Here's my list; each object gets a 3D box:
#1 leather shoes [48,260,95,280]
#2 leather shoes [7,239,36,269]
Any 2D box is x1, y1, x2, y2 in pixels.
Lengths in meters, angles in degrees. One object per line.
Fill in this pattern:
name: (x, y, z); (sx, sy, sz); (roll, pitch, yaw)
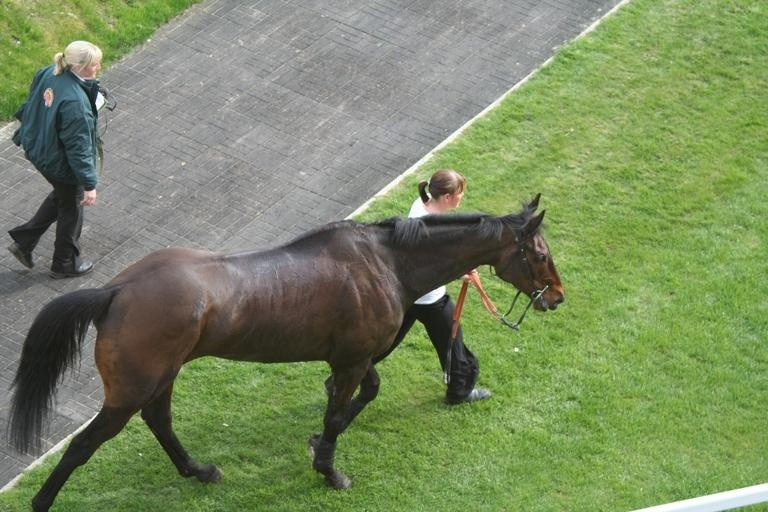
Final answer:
leather shoes: (-4.151, 0.188, 15.402); (0.486, 0.223, 0.222); (-7, 73, -12)
leather shoes: (-4.765, -0.006, 15.426); (0.212, 0.468, 0.159); (-16, 48, 13)
